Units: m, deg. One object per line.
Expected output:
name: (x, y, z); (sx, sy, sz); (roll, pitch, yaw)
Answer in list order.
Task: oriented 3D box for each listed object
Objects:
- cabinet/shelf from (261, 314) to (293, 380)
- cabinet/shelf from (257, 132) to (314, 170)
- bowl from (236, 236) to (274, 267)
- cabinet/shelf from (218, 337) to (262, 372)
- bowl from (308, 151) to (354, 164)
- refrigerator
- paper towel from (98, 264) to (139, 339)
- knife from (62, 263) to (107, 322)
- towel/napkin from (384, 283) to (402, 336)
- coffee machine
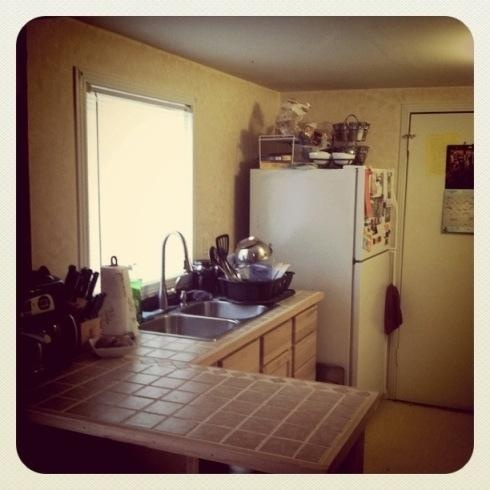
cabinet/shelf: (0.150, 0.546, 2.440); (0.160, 0.308, 0.299); (1, -6, 19)
cabinet/shelf: (0.315, -0.648, 3.277); (0.333, 0.233, 0.352); (2, 10, 15)
bowl: (0.059, 0.016, 2.652); (0.163, 0.110, 0.170); (-17, -1, 0)
cabinet/shelf: (-0.031, 0.497, 2.006); (0.126, 0.164, 0.245); (3, 8, 22)
bowl: (0.611, -0.618, 3.167); (0.338, 0.098, 0.185); (0, 4, -2)
refrigerator: (0.786, 0.031, 4.264); (1.306, 2.883, 1.236); (0, 8, 19)
paper towel: (-0.512, 0.217, 1.805); (0.146, 0.271, 0.150); (-3, 9, -8)
knife: (-0.578, 0.173, 1.607); (0.134, 0.202, 0.063); (17, 11, 13)
towel/napkin: (1.229, 0.512, 3.724); (0.107, 0.399, 0.467); (2, 1, 20)
coffee machine: (-0.649, 0.262, 1.463); (0.252, 0.278, 0.191); (0, 3, 43)
